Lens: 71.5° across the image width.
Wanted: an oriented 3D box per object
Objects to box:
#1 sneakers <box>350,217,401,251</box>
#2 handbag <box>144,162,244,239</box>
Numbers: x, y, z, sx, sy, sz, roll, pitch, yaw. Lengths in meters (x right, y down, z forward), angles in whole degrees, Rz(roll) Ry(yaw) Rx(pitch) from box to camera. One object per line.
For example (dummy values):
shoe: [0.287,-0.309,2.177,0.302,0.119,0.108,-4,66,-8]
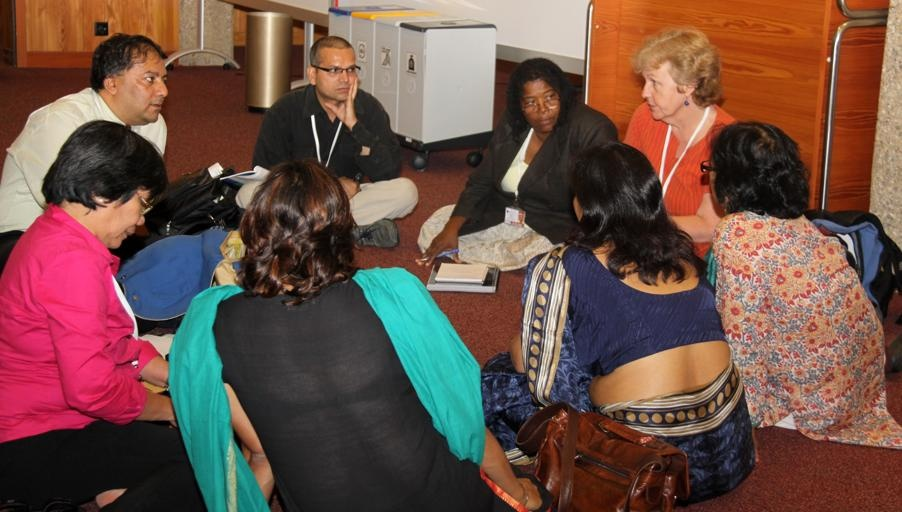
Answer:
sneakers: [-0.569,-0.131,4.893,0.326,0.262,0.116,-4,29,-8]
handbag: [-1.617,-0.327,3.958,0.549,0.291,0.408,-26,-7,-32]
